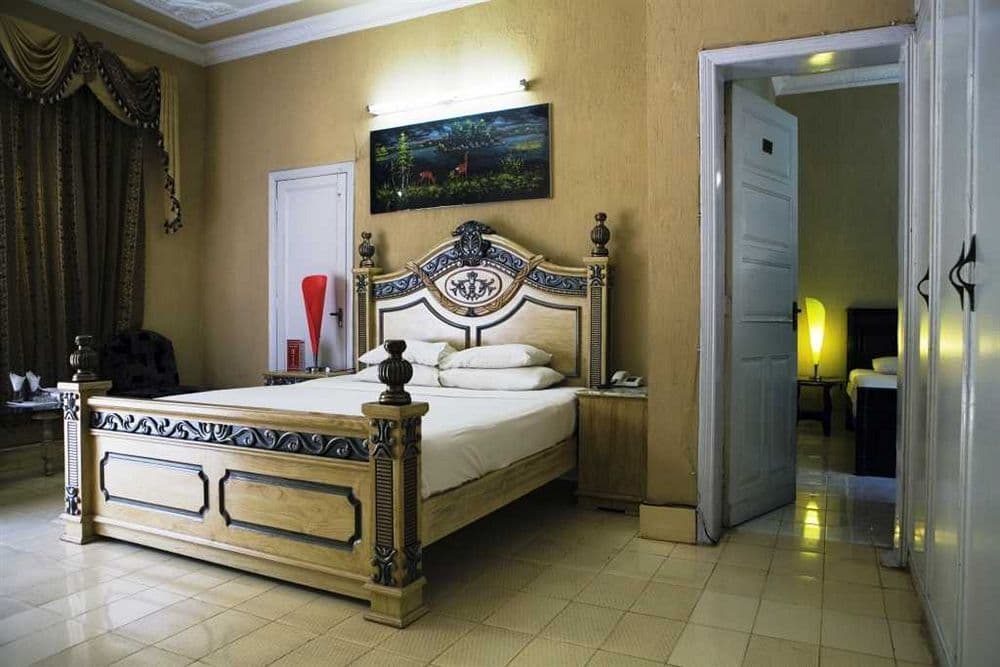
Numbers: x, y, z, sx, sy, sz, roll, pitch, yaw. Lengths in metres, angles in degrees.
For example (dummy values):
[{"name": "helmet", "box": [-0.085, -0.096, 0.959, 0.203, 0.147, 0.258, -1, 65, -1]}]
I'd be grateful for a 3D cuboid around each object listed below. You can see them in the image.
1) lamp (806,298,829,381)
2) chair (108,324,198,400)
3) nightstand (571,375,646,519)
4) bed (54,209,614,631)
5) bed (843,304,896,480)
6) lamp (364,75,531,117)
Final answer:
[{"name": "lamp", "box": [3.446, 0.040, 7.708, 0.215, 0.862, 0.114, 5, 11, 25]}, {"name": "chair", "box": [-3.128, 0.264, 6.350, 0.646, 0.614, 0.690, -3, -4, 32]}, {"name": "nightstand", "box": [0.790, 0.817, 4.928, 0.717, 1.017, 0.725, 0, -1, 24]}, {"name": "bed", "box": [-0.964, 0.185, 4.960, 2.679, 2.077, 3.115, 6, 11, 31]}, {"name": "bed", "box": [3.472, 0.555, 6.595, 0.469, 1.283, 2.188, 5, 11, 26]}, {"name": "lamp", "box": [-0.375, -2.011, 5.912, 1.027, 0.168, 0.075, -1, 23, 21]}]
